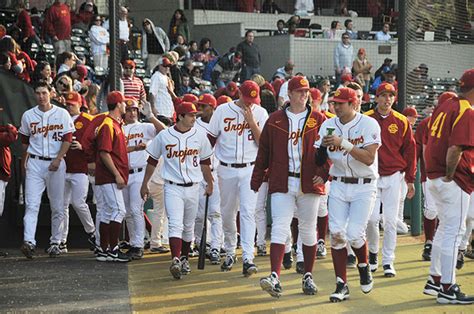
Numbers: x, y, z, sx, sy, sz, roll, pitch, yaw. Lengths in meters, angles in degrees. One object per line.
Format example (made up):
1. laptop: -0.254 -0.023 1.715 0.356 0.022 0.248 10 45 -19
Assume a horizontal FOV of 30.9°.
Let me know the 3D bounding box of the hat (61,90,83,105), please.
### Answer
1. hat: -3.239 -1.169 17.100 0.236 0.179 0.344 18 10 32

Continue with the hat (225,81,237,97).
1. hat: -0.099 -1.441 17.720 0.240 0.350 0.183 0 -15 -8

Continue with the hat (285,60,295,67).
1. hat: 1.327 -2.365 21.694 0.182 0.230 0.225 -17 47 -13

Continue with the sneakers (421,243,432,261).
1. sneakers: 3.607 1.818 16.347 0.161 0.280 0.319 1 10 11

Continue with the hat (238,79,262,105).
1. hat: 0.214 -1.161 15.518 0.333 0.219 0.434 -2 41 -28

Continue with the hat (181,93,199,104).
1. hat: -0.922 -1.139 16.912 0.245 0.183 0.347 -6 17 -32

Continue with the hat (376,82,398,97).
1. hat: 2.732 -1.269 15.772 0.256 0.175 0.331 8 32 7

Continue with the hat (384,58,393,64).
1. hat: 4.148 -2.645 23.556 0.175 0.121 0.224 -4 -9 -4

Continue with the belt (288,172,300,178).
1. belt: 0.966 0.302 14.459 0.197 0.099 0.034 1 10 10

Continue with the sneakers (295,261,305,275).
1. sneakers: 1.144 2.014 15.649 0.116 0.225 0.150 -2 10 -3

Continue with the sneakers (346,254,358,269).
1. sneakers: 2.148 1.951 15.972 0.266 0.229 0.158 -5 11 -22

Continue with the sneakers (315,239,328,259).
1. sneakers: 1.613 1.767 16.493 0.192 0.388 0.158 -1 10 -1

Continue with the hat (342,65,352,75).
1. hat: 2.948 -2.337 23.012 0.296 0.324 0.246 9 24 11

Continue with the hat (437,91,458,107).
1. hat: 3.853 -1.053 15.754 0.345 0.286 0.526 -2 1 22

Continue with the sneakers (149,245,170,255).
1. sneakers: -1.545 1.880 17.229 0.392 0.168 0.144 0 3 -11

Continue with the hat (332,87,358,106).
1. hat: 1.795 -1.023 14.376 0.398 0.273 0.220 0 10 4

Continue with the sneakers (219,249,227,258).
1. sneakers: -0.273 1.884 16.786 0.142 0.152 0.134 4 -7 -33

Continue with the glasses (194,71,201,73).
1. glasses: -1.037 -2.257 22.618 0.084 0.056 0.103 0 -4 -15

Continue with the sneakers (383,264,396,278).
1. sneakers: 2.752 2.047 15.476 0.215 0.211 0.269 1 10 11

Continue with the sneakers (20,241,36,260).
1. sneakers: -3.930 1.808 16.355 0.166 0.444 0.217 8 57 21

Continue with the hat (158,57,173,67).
1. hat: -1.621 -2.176 19.665 0.241 0.169 0.320 -10 14 -34

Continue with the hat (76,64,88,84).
1. hat: -3.369 -1.800 18.679 0.223 0.396 0.268 -20 1 20

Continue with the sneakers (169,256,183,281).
1. sneakers: -1.058 1.972 15.175 0.175 0.461 0.212 -3 49 7

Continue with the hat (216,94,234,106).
1. hat: -0.244 -1.131 17.056 0.356 0.193 0.248 0 11 3

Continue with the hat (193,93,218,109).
1. hat: -0.589 -1.091 16.490 0.349 0.192 0.238 10 0 -20

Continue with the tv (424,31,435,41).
1. tv: 4.226 -2.663 18.887 0.077 0.227 0.347 8 13 42

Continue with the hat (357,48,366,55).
1. hat: 3.350 -2.839 23.033 0.169 0.133 0.266 0 -2 10

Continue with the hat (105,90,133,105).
1. hat: -2.282 -1.140 16.424 0.358 0.176 0.224 -19 23 -20

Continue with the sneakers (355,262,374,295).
1. sneakers: 2.139 2.066 14.457 0.208 0.251 0.602 -16 32 25

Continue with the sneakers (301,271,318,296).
1. sneakers: 1.253 2.164 14.660 0.259 0.378 0.182 -1 10 1

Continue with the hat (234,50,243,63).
1. hat: 0.042 -2.564 21.906 0.225 0.256 0.265 -3 45 -3

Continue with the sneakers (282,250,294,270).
1. sneakers: 0.970 1.921 15.962 0.150 0.311 0.278 8 14 44

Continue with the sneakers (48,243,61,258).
1. sneakers: -3.560 1.826 16.760 0.241 0.280 0.280 -3 10 -13

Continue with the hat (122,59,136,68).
1. hat: -2.371 -2.057 19.002 0.240 0.175 0.316 -3 10 -13

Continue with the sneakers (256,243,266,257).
1. sneakers: 0.493 1.811 16.823 0.183 0.248 0.222 -1 10 1

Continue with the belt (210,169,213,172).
1. belt: -0.479 0.256 16.749 0.047 0.041 0.046 1 -5 -12
